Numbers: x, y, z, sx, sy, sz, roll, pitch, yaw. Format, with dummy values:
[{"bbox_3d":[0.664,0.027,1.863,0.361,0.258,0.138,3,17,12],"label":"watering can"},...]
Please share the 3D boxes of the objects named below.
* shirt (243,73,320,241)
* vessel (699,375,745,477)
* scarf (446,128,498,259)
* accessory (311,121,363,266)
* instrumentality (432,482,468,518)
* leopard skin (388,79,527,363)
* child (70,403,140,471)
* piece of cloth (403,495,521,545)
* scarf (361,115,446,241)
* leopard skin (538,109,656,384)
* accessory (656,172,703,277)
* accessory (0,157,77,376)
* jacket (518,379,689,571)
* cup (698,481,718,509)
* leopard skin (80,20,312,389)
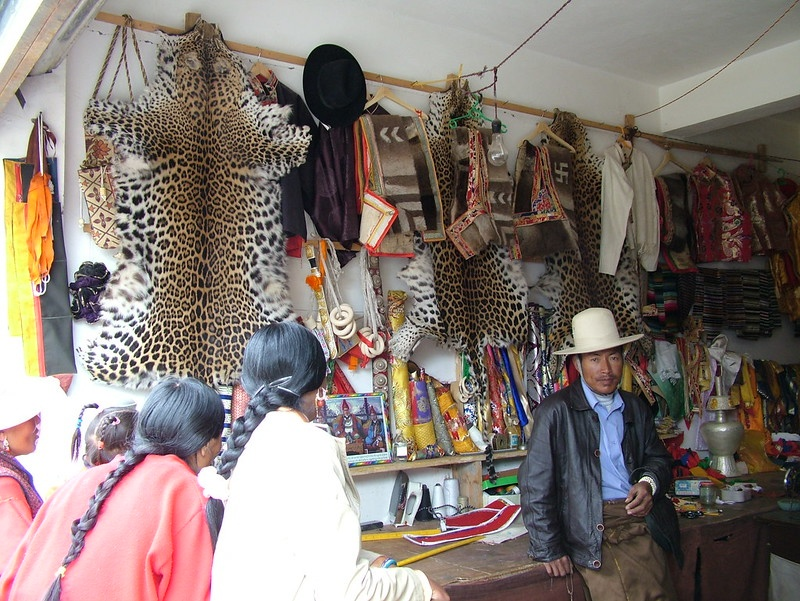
[{"bbox_3d":[-0.750,-0.821,3.693,0.238,1.226,0.566,0,3,2],"label":"shirt"},{"bbox_3d":[2.530,0.974,4.862,0.273,0.749,0.676,-6,-9,27],"label":"vessel"},{"bbox_3d":[0.492,-0.722,4.156,0.380,0.865,0.139,2,-9,-27],"label":"scarf"},{"bbox_3d":[-0.403,-0.733,3.820,0.305,0.737,0.101,-1,-8,-9],"label":"accessory"},{"bbox_3d":[0.306,1.279,3.986,0.251,0.293,0.137,4,-11,-18],"label":"instrumentality"},{"bbox_3d":[0.434,-0.276,4.154,0.677,2.296,0.672,-1,4,-2],"label":"leopard skin"},{"bbox_3d":[-1.237,0.572,2.574,0.257,0.262,0.208,3,20,3],"label":"child"},{"bbox_3d":[0.436,1.325,3.645,0.474,0.096,0.259,-2,0,-41],"label":"piece of cloth"},{"bbox_3d":[0.024,-0.849,3.929,0.475,0.871,0.205,1,-12,-24],"label":"scarf"},{"bbox_3d":[1.482,-0.406,4.743,0.527,2.322,1.124,-2,0,15],"label":"leopard skin"},{"bbox_3d":[2.331,-0.638,5.343,0.560,0.764,0.223,3,-10,-8],"label":"accessory"},{"bbox_3d":[-1.837,-0.165,3.148,0.319,1.096,0.123,0,-8,-14],"label":"accessory"},{"bbox_3d":[1.027,0.939,3.240,0.813,1.047,0.529,2,-7,-25],"label":"jacket"},{"bbox_3d":[2.002,1.281,4.038,0.083,0.169,0.159,0,-5,10],"label":"cup"},{"bbox_3d":[-1.319,-0.506,3.928,1.137,2.046,0.533,-2,1,-22],"label":"leopard skin"}]
